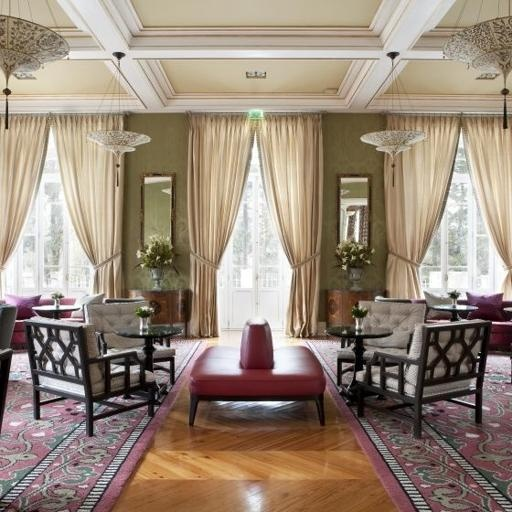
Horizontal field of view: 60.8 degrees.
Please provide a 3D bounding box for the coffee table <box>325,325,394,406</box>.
[{"bbox_3d":[1.024,1.035,4.312,0.600,0.608,0.650,14,28,37],"label":"coffee table"}]

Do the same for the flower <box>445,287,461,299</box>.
[{"bbox_3d":[2.991,0.573,6.553,0.218,0.144,0.221,-1,-1,1],"label":"flower"}]

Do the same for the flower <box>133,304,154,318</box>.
[{"bbox_3d":[-1.161,0.572,4.522,0.195,0.115,0.187,2,1,3],"label":"flower"}]

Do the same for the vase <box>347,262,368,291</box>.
[{"bbox_3d":[1.807,0.400,7.884,0.320,0.426,0.643,0,-2,13],"label":"vase"}]

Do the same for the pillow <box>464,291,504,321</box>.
[{"bbox_3d":[3.647,0.811,6.964,0.552,0.458,0.199,-4,-29,26],"label":"pillow"}]

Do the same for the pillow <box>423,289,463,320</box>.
[{"bbox_3d":[3.001,0.803,6.998,0.573,0.477,0.193,-3,-14,-6],"label":"pillow"}]

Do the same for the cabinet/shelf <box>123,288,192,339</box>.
[{"bbox_3d":[-1.767,1.038,7.739,1.162,0.860,0.619,1,-5,-34],"label":"cabinet/shelf"}]

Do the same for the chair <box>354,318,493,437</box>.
[{"bbox_3d":[1.387,0.963,3.699,0.838,0.784,0.907,0,-6,-15],"label":"chair"}]

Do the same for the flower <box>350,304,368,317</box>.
[{"bbox_3d":[1.070,0.568,4.469,0.187,0.134,0.176,1,-2,-8],"label":"flower"}]

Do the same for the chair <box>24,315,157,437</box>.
[{"bbox_3d":[-1.380,0.976,3.739,1.080,0.755,1.023,4,-7,-26],"label":"chair"}]

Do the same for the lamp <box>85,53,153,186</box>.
[{"bbox_3d":[-1.953,-1.937,6.208,0.927,1.761,0.920,4,6,30],"label":"lamp"}]

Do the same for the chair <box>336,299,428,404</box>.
[{"bbox_3d":[1.320,0.924,4.719,1.086,0.980,1.063,10,-10,-8],"label":"chair"}]

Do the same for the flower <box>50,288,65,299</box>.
[{"bbox_3d":[-3.317,0.632,7.299,0.225,0.215,0.270,-3,-7,35],"label":"flower"}]

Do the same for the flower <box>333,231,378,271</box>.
[{"bbox_3d":[1.802,-0.047,7.859,0.651,0.403,0.647,0,1,34],"label":"flower"}]

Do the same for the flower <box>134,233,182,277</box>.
[{"bbox_3d":[-1.744,-0.017,7.857,0.733,0.714,0.701,1,-2,-10],"label":"flower"}]

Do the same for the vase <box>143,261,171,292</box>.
[{"bbox_3d":[-1.723,0.369,7.798,0.490,0.497,0.454,0,-7,-5],"label":"vase"}]

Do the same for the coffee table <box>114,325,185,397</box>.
[{"bbox_3d":[-1.078,0.984,4.341,0.540,0.366,0.527,-9,-23,30],"label":"coffee table"}]

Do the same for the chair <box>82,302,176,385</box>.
[{"bbox_3d":[-1.383,0.961,4.855,0.874,0.852,0.897,-1,-1,-24],"label":"chair"}]

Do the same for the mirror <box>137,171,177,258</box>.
[{"bbox_3d":[-1.930,-0.847,8.168,0.056,1.403,0.665,19,19,31],"label":"mirror"}]

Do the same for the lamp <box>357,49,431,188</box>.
[{"bbox_3d":[1.794,-1.808,5.813,0.949,1.700,0.898,-31,35,-31],"label":"lamp"}]
